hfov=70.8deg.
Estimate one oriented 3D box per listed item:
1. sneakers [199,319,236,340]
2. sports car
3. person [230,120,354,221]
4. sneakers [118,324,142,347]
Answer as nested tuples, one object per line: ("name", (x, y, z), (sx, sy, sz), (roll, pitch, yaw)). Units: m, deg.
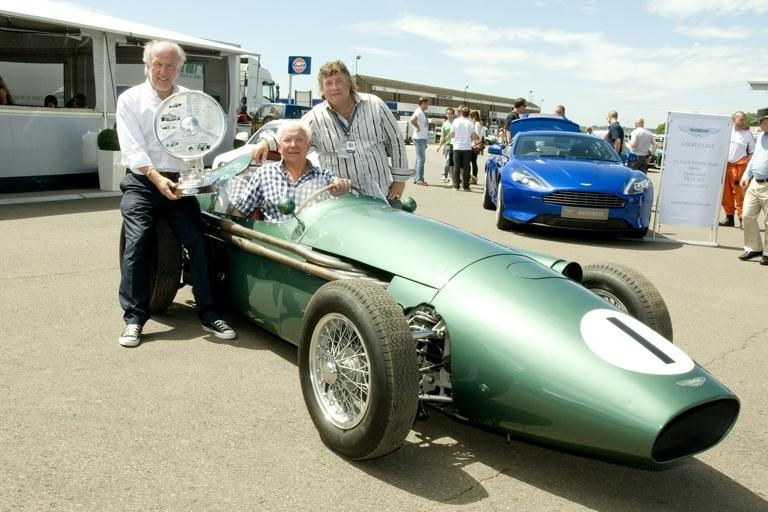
("sneakers", (-1.443, 0.645, 4.729), (0.344, 0.119, 0.129), (9, 18, 44))
("sports car", (0.296, 0.441, 3.402), (3.015, 0.753, 1.547), (20, 19, 32))
("person", (-0.746, -0.668, 4.510), (1.032, 0.746, 0.490), (-2, 17, 5))
("sneakers", (-2.100, 0.672, 4.493), (0.112, 0.096, 0.274), (2, 2, -10))
